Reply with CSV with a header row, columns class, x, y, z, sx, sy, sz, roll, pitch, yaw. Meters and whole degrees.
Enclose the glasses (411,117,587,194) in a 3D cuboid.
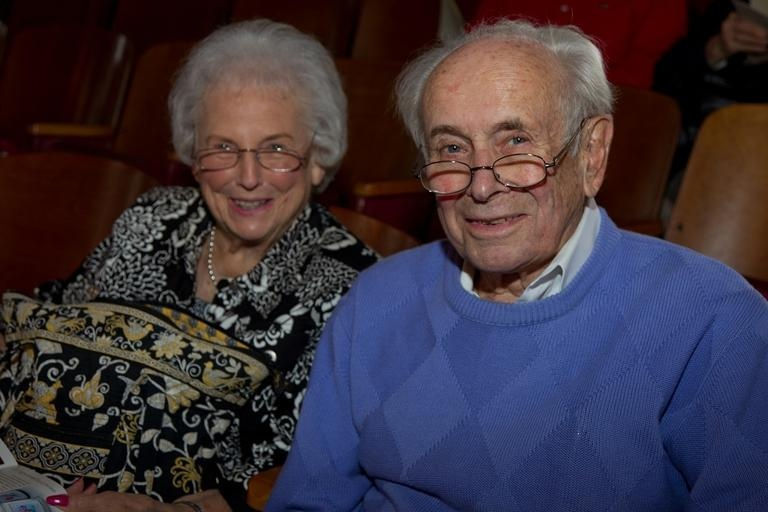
class,x,y,z,sx,sy,sz,roll,pitch,yaw
glasses,0.271,-0.214,1.703,0.361,0.194,0.092,5,17,0
